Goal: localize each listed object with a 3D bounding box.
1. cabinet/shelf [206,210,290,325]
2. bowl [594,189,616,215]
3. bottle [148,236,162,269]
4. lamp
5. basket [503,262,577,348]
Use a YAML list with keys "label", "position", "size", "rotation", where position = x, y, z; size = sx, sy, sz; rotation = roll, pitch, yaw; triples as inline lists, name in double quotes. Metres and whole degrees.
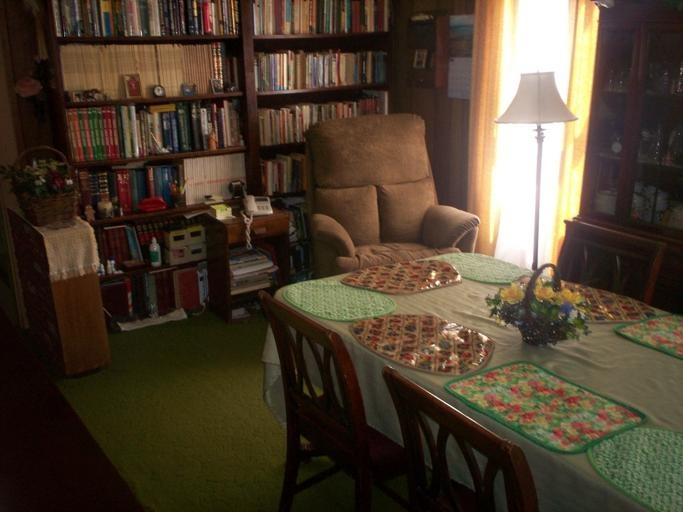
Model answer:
- label: "cabinet/shelf"
  position: [-0.794, 0.018, 4.174]
  size: [0.408, 0.793, 0.616]
  rotation: [21, 26, 40]
- label: "bowl"
  position: [1.796, -0.369, 3.426]
  size: [0.089, 0.150, 0.160]
  rotation: [-6, 12, -27]
- label: "bottle"
  position: [-1.476, -0.034, 3.974]
  size: [0.095, 0.226, 0.129]
  rotation: [-7, 18, -19]
- label: "lamp"
  position: [1.316, -0.528, 3.517]
  size: [0.482, 1.410, 0.778]
  rotation: [6, 19, 23]
- label: "basket"
  position: [0.800, 0.173, 2.076]
  size: [0.287, 0.345, 0.308]
  rotation: [7, 4, 43]
